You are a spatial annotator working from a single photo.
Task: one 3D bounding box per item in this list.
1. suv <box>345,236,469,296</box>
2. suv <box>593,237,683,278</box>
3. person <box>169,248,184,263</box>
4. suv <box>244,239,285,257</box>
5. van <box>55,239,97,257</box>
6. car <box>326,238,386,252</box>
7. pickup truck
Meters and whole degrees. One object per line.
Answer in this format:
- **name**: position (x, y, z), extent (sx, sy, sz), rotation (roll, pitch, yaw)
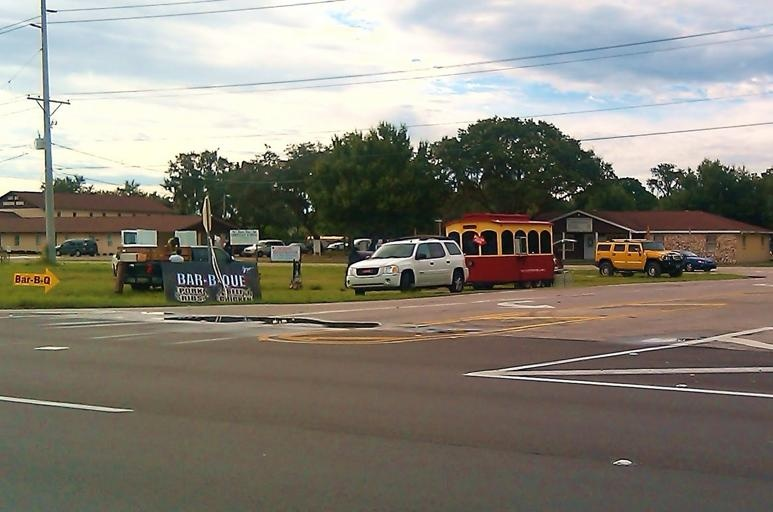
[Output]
- **suv**: position (0.902, 0.415, 30.464), extent (2.105, 1.674, 3.963), rotation (-3, -5, 39)
- **suv**: position (15.495, 0.076, 46.999), extent (3.883, 1.888, 2.490), rotation (-2, -1, 40)
- **person**: position (-8.402, -0.024, 30.830), extent (0.359, 0.487, 1.220), rotation (0, 9, -4)
- **suv**: position (-10.686, -0.678, 66.186), extent (3.086, 1.355, 1.806), rotation (0, 1, -12)
- **van**: position (-33.200, -0.884, 82.347), extent (3.770, 1.566, 2.186), rotation (2, 2, -3)
- **car**: position (-3.259, -1.139, 79.711), extent (4.659, 1.261, 2.601), rotation (-2, 2, 0)
- **pickup truck**: position (-8.287, 0.164, 32.088), extent (5.007, 1.624, 2.290), rotation (6, -3, -31)
